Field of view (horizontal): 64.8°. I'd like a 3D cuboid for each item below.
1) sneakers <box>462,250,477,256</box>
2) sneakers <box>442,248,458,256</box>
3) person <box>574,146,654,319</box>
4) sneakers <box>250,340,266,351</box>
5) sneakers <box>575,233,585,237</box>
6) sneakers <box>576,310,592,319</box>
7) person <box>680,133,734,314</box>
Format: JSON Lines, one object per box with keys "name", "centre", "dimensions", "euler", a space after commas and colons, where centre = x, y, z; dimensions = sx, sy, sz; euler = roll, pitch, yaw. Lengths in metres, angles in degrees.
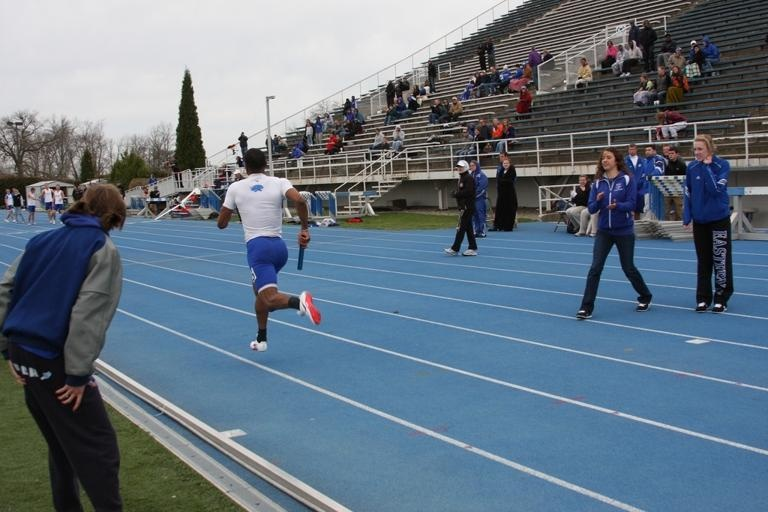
{"name": "sneakers", "centre": [1.950, -0.080, 13.906], "dimensions": [0.328, 0.141, 0.118], "euler": [1, 5, 4]}
{"name": "sneakers", "centre": [1.491, -0.109, 13.947], "dimensions": [0.339, 0.159, 0.123], "euler": [23, 9, 15]}
{"name": "person", "centre": [3.171, -0.323, 8.356], "dimensions": [0.941, 2.273, 0.983], "euler": [1, 11, 23]}
{"name": "sneakers", "centre": [-1.502, 1.049, 7.168], "dimensions": [0.098, 0.109, 0.264], "euler": [-1, 5, -17]}
{"name": "sneakers", "centre": [5.275, -0.578, 16.327], "dimensions": [0.181, 0.072, 0.086], "euler": [0, 16, 3]}
{"name": "sneakers", "centre": [2.714, 0.798, 8.273], "dimensions": [0.093, 0.089, 0.218], "euler": [-2, -2, 42]}
{"name": "person", "centre": [4.486, -0.454, 8.386], "dimensions": [0.639, 2.402, 0.618], "euler": [2, 11, 29]}
